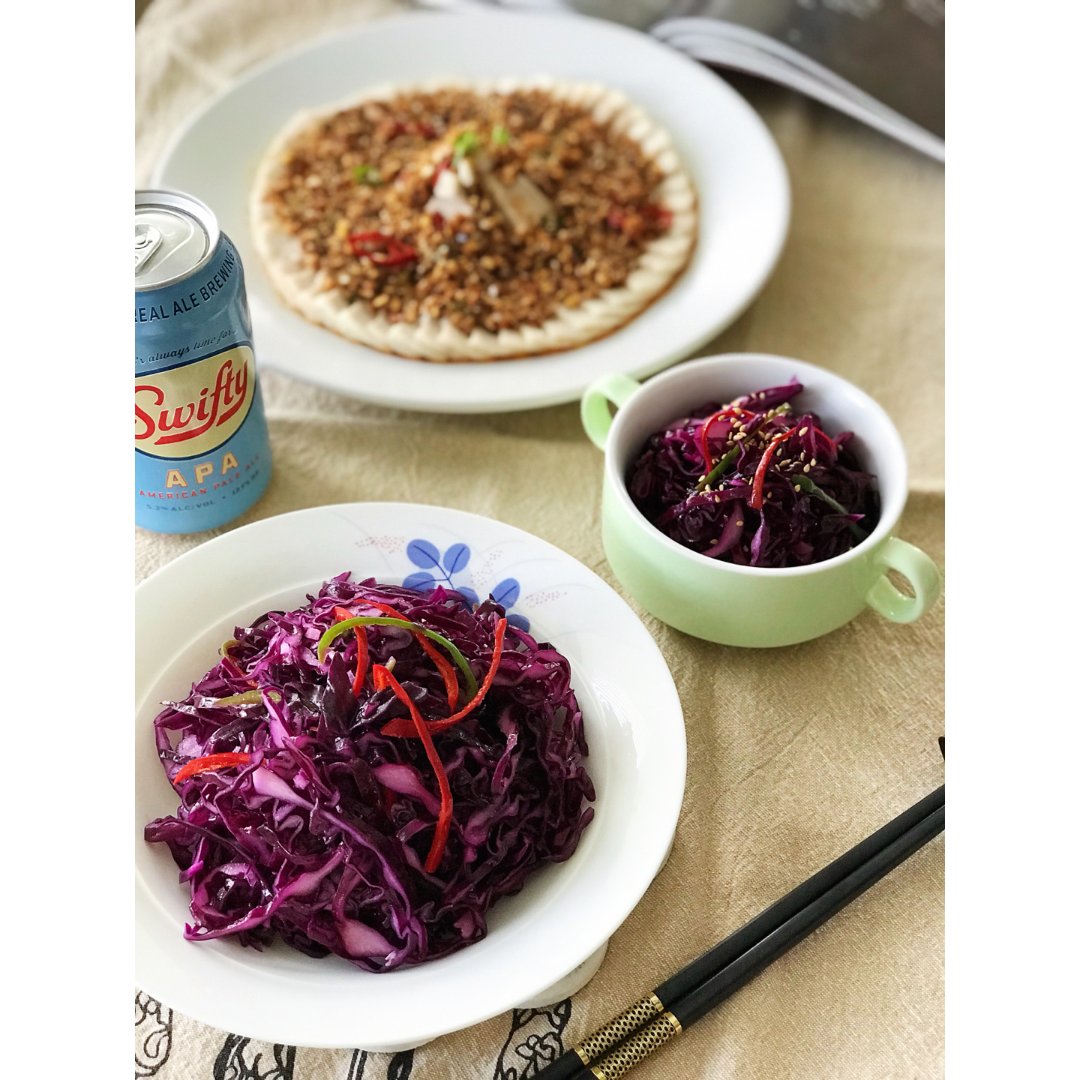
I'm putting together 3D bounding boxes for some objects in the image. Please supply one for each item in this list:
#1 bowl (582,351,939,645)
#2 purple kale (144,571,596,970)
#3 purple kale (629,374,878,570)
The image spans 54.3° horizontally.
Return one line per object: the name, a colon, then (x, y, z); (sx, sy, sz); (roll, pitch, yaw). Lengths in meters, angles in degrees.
bowl: (0.196, -0.034, 1.091); (0.377, 0.154, 0.258); (31, 60, 25)
purple kale: (-0.144, 0.164, 0.896); (0.380, 0.163, 0.369); (-6, 47, -6)
purple kale: (0.214, -0.059, 1.102); (0.175, 0.097, 0.222); (-31, 44, -32)
